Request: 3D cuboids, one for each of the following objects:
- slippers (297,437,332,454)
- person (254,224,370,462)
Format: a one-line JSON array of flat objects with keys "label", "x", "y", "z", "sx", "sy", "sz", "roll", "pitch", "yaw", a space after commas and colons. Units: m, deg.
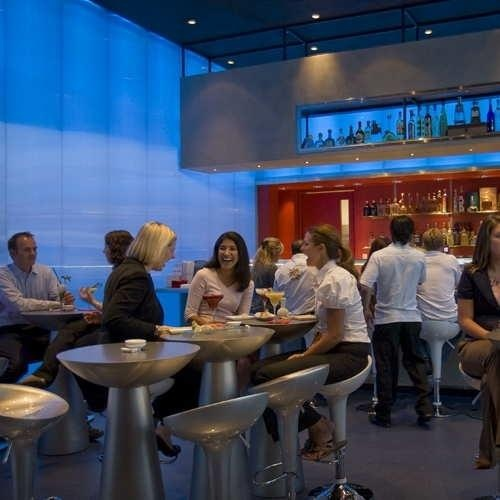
[{"label": "slippers", "x": 0.304, "y": 0.897, "z": 2.507, "sx": 0.118, "sy": 0.045, "sz": 0.067, "roll": -2, "pitch": -1, "yaw": 2}, {"label": "person", "x": 0.329, "y": 0.497, "z": 2.924, "sx": 0.719, "sy": 1.131, "sz": 0.542, "roll": -7, "pitch": -11, "yaw": 15}]
